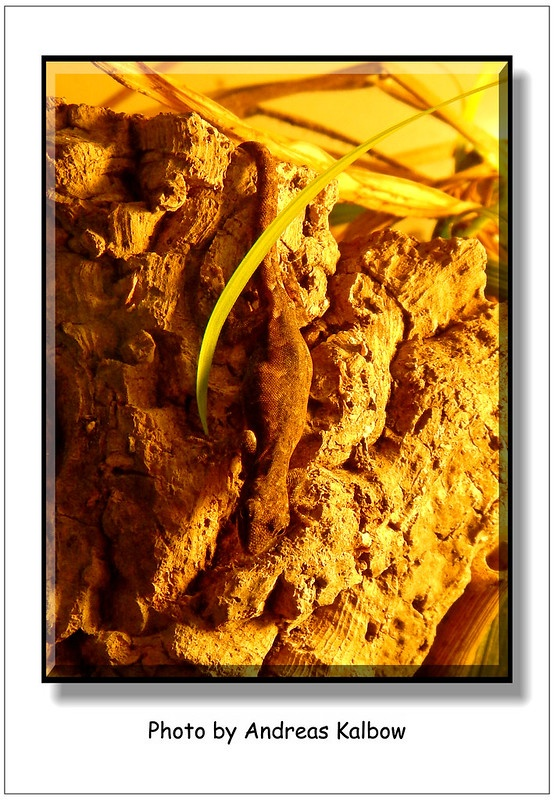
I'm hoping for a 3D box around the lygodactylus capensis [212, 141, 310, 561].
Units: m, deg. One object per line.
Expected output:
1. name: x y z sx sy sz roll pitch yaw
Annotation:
1. lygodactylus capensis: -0.012 -0.158 2.860 0.240 1.197 0.337 3 4 -2
